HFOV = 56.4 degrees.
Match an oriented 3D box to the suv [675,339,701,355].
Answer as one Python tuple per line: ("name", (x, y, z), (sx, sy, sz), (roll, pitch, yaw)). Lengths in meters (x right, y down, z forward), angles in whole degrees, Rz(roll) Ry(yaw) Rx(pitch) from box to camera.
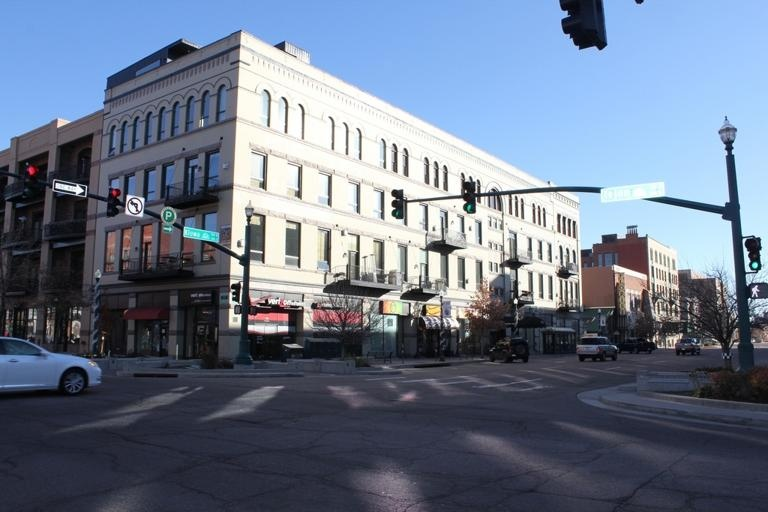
("suv", (30.135, 8.984, 70.594), (1.571, 1.286, 3.698), (-5, -13, 29))

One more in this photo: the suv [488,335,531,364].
("suv", (8.645, 6.401, 48.777), (1.419, 1.726, 2.903), (9, -14, -42))

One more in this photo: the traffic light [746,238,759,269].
("traffic light", (12.752, -0.076, 24.608), (0.409, 1.270, 0.578), (-5, -11, 24))

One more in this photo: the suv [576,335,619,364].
("suv", (15.148, 6.554, 50.313), (1.689, 1.411, 3.512), (-4, -4, 41))

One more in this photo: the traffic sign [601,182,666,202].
("traffic sign", (8.273, -2.085, 23.769), (1.884, 0.479, 0.380), (-4, -11, 21))

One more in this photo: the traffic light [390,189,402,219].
("traffic light", (0.602, -2.081, 28.505), (0.448, 1.237, 0.798), (0, -10, 1))

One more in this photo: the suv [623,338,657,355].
("suv", (26.370, 9.463, 73.742), (3.343, 1.246, 1.925), (0, -4, 5))
